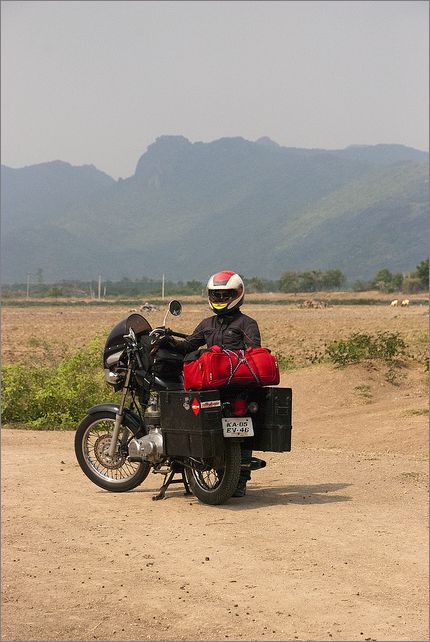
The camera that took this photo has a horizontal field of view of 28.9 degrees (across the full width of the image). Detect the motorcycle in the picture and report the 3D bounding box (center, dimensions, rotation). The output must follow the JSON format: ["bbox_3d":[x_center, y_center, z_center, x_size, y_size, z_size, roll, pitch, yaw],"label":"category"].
[{"bbox_3d":[-0.416,0.794,8.023,0.868,1.894,2.509,-1,-3,-39],"label":"motorcycle"}]

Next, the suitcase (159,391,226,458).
[{"bbox_3d":[-0.212,0.946,7.649,0.266,0.593,0.656,-3,-1,-40],"label":"suitcase"}]

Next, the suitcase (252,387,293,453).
[{"bbox_3d":[0.495,1.006,8.181,0.291,0.681,0.738,-6,-5,-9],"label":"suitcase"}]

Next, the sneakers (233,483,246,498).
[{"bbox_3d":[0.255,1.671,8.251,0.104,0.170,0.170,-1,-3,0],"label":"sneakers"}]

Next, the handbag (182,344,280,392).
[{"bbox_3d":[0.156,0.412,7.547,0.657,0.303,0.445,-3,3,-20],"label":"handbag"}]
